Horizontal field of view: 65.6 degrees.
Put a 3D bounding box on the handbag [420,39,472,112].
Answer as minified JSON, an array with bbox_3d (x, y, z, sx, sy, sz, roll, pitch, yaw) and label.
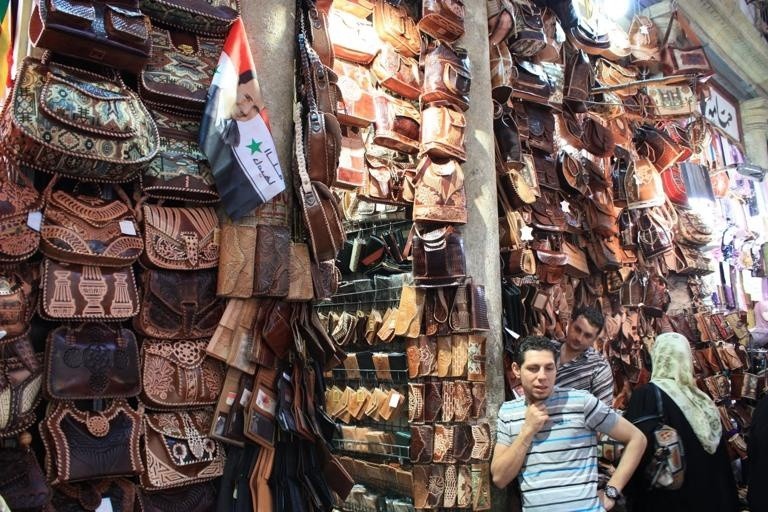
[{"bbox_3d":[0.461,-1.286,4.201,0.362,0.487,0.275,13,-16,-26],"label":"handbag"}]

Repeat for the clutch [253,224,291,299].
[{"bbox_3d":[-0.535,0.019,2.862,0.189,0.325,0.072,6,-10,-32],"label":"clutch"}]

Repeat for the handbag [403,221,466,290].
[{"bbox_3d":[0.363,0.030,4.064,0.377,0.492,0.491,-9,-23,14],"label":"handbag"}]

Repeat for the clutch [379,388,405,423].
[{"bbox_3d":[0.053,0.980,3.936,0.165,0.194,0.112,0,-14,-2],"label":"clutch"}]

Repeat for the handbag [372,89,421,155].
[{"bbox_3d":[0.087,-0.935,4.055,0.359,0.357,0.179,26,-31,-38],"label":"handbag"}]

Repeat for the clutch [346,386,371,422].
[{"bbox_3d":[-0.180,1.016,4.095,0.080,0.214,0.151,20,-22,-30],"label":"clutch"}]

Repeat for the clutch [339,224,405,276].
[{"bbox_3d":[-0.097,-0.027,4.396,0.427,0.346,0.158,-4,16,-3],"label":"clutch"}]

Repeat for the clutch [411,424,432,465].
[{"bbox_3d":[0.243,1.199,3.800,0.060,0.218,0.157,6,-3,-25],"label":"clutch"}]

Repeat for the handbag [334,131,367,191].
[{"bbox_3d":[-0.223,-0.617,3.728,0.191,0.350,0.100,7,-13,-33],"label":"handbag"}]

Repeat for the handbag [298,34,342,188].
[{"bbox_3d":[-0.341,-0.751,3.063,0.238,0.776,0.682,-5,17,-2],"label":"handbag"}]

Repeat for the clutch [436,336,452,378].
[{"bbox_3d":[0.400,0.658,3.936,0.094,0.259,0.047,4,-14,-19],"label":"clutch"}]

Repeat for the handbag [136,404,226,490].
[{"bbox_3d":[-0.898,0.866,2.689,0.141,0.331,0.382,-22,-21,36],"label":"handbag"}]

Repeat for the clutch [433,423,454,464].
[{"bbox_3d":[0.390,1.197,3.793,0.189,0.201,0.046,3,-5,-15],"label":"clutch"}]

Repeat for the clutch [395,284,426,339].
[{"bbox_3d":[0.192,0.358,3.921,0.236,0.339,0.090,0,-9,41],"label":"clutch"}]

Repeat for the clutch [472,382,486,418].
[{"bbox_3d":[0.623,0.962,3.930,0.053,0.199,0.146,2,-5,6],"label":"clutch"}]

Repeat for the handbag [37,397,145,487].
[{"bbox_3d":[-1.225,0.775,2.453,0.386,0.480,0.109,-2,-28,-47],"label":"handbag"}]

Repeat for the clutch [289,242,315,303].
[{"bbox_3d":[-0.416,0.080,2.952,0.182,0.252,0.059,6,-10,-38],"label":"clutch"}]

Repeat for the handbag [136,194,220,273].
[{"bbox_3d":[-0.923,-0.071,2.842,0.486,0.463,0.252,3,-10,-38],"label":"handbag"}]

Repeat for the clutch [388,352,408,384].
[{"bbox_3d":[0.095,0.737,3.960,0.155,0.178,0.054,-13,-18,40],"label":"clutch"}]

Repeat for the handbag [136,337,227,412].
[{"bbox_3d":[-0.924,0.534,2.662,0.296,0.271,0.103,7,-15,-31],"label":"handbag"}]

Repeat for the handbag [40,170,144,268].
[{"bbox_3d":[-1.261,-0.157,2.537,0.370,0.373,0.139,4,-21,-35],"label":"handbag"}]

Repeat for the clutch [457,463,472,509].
[{"bbox_3d":[0.519,1.480,3.835,0.097,0.260,0.057,-1,-13,1],"label":"clutch"}]

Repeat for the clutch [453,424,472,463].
[{"bbox_3d":[0.511,1.214,3.854,0.070,0.215,0.166,1,-5,26],"label":"clutch"}]

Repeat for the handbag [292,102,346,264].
[{"bbox_3d":[-0.332,-0.383,3.032,0.160,0.794,0.261,-5,-14,19],"label":"handbag"}]

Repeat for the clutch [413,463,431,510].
[{"bbox_3d":[0.232,1.476,3.787,0.097,0.277,0.077,2,-14,-9],"label":"clutch"}]

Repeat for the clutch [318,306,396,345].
[{"bbox_3d":[-0.179,0.502,4.192,0.413,0.352,0.168,1,7,35],"label":"clutch"}]

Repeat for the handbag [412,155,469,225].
[{"bbox_3d":[0.390,-0.447,4.030,0.379,0.507,0.263,5,-17,-7],"label":"handbag"}]

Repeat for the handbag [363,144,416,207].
[{"bbox_3d":[0.046,-0.546,4.006,0.378,0.346,0.204,10,-20,-34],"label":"handbag"}]

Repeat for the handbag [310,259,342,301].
[{"bbox_3d":[-0.308,0.133,3.132,0.066,0.186,0.154,1,5,36],"label":"handbag"}]

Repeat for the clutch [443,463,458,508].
[{"bbox_3d":[0.426,1.482,3.810,0.046,0.239,0.122,4,-6,-2],"label":"clutch"}]

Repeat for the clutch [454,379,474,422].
[{"bbox_3d":[0.522,0.948,3.906,0.134,0.251,0.044,8,-16,-31],"label":"clutch"}]

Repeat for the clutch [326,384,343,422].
[{"bbox_3d":[-0.352,1.054,4.253,0.087,0.244,0.189,0,-17,15],"label":"clutch"}]

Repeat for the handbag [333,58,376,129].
[{"bbox_3d":[-0.221,-1.064,3.950,0.433,0.441,0.101,6,-18,-35],"label":"handbag"}]

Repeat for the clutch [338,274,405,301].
[{"bbox_3d":[-0.075,0.229,4.254,0.318,0.102,0.246,-15,-4,36],"label":"clutch"}]

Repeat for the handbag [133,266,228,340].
[{"bbox_3d":[-0.940,0.216,2.700,0.317,0.323,0.140,1,-1,-28],"label":"handbag"}]

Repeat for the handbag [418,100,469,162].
[{"bbox_3d":[0.425,-0.853,4.120,0.382,0.376,0.262,11,-14,-34],"label":"handbag"}]

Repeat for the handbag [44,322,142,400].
[{"bbox_3d":[-1.226,0.439,2.472,0.294,0.293,0.116,4,-21,-35],"label":"handbag"}]

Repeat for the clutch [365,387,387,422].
[{"bbox_3d":[-0.057,0.990,3.999,0.068,0.200,0.152,17,2,-3],"label":"clutch"}]

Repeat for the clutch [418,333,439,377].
[{"bbox_3d":[0.298,0.658,3.861,0.171,0.231,0.053,2,-8,-18],"label":"clutch"}]

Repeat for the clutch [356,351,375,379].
[{"bbox_3d":[-0.118,0.770,4.185,0.175,0.173,0.041,4,8,44],"label":"clutch"}]

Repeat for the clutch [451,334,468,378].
[{"bbox_3d":[0.504,0.654,3.941,0.160,0.238,0.054,0,-9,-6],"label":"clutch"}]

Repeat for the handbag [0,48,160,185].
[{"bbox_3d":[-1.291,-0.584,2.492,0.543,0.556,0.205,8,-32,-44],"label":"handbag"}]

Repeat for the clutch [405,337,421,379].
[{"bbox_3d":[0.192,0.664,3.878,0.060,0.216,0.151,7,-7,-27],"label":"clutch"}]

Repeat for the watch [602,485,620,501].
[{"bbox_3d":[1.188,1.238,3.091,0.101,0.035,0.085,24,-16,43],"label":"watch"}]

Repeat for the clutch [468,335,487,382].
[{"bbox_3d":[0.595,0.676,3.952,0.181,0.283,0.044,8,-15,-19],"label":"clutch"}]
